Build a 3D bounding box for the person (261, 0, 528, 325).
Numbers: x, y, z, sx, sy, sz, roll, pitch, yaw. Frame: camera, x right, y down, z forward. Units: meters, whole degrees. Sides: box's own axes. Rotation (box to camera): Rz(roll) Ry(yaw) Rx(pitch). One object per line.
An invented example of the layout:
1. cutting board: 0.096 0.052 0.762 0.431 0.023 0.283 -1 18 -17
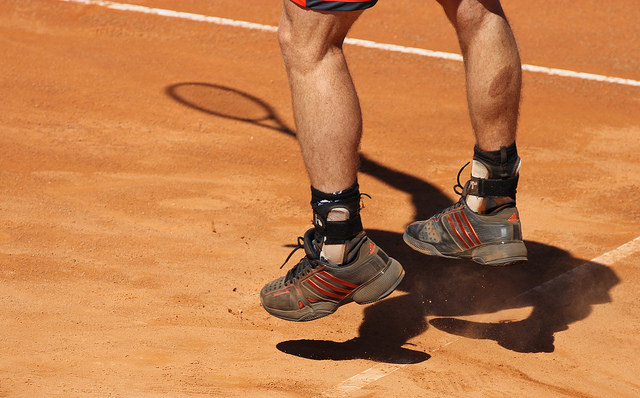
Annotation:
1. person: 0.488 -0.183 4.410 1.623 2.049 1.101 2 34 -4
